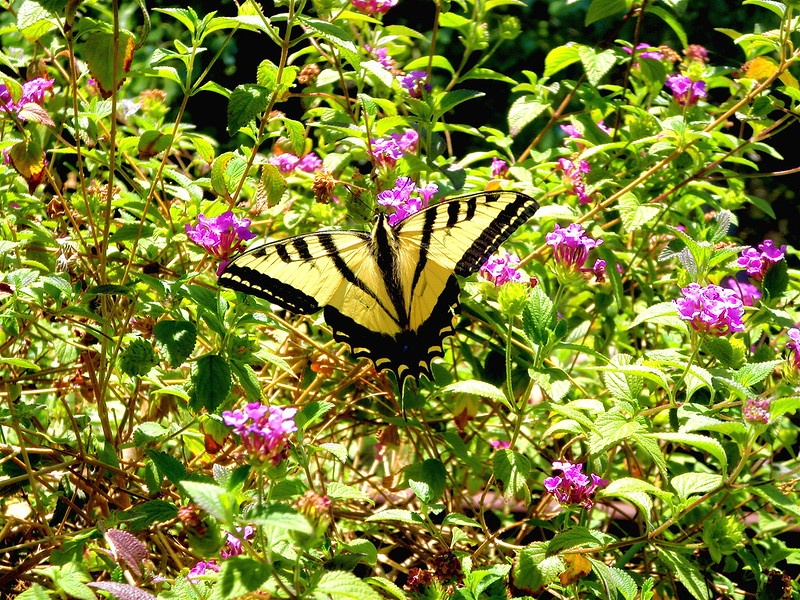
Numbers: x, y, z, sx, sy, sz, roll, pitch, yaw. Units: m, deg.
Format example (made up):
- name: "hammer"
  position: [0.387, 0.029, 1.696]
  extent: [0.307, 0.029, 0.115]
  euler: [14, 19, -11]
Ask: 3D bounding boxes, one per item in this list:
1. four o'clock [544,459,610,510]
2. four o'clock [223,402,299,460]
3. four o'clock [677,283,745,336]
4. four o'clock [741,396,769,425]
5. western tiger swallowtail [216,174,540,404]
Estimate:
- name: "four o'clock"
  position: [0.618, 0.659, 3.712]
  extent: [0.199, 0.105, 0.191]
  euler: [3, 7, -7]
- name: "four o'clock"
  position: [-0.451, 0.410, 3.305]
  extent: [0.191, 0.102, 0.196]
  euler: [14, 19, 2]
- name: "four o'clock"
  position: [1.093, 0.029, 3.610]
  extent: [0.197, 0.120, 0.180]
  euler: [-25, 50, -34]
- name: "four o'clock"
  position: [1.216, 0.375, 3.488]
  extent: [0.084, 0.084, 0.066]
  euler: [7, 52, -2]
- name: "western tiger swallowtail"
  position: [-0.164, 0.020, 4.085]
  extent: [1.119, 0.178, 0.664]
  euler: [34, 31, 29]
